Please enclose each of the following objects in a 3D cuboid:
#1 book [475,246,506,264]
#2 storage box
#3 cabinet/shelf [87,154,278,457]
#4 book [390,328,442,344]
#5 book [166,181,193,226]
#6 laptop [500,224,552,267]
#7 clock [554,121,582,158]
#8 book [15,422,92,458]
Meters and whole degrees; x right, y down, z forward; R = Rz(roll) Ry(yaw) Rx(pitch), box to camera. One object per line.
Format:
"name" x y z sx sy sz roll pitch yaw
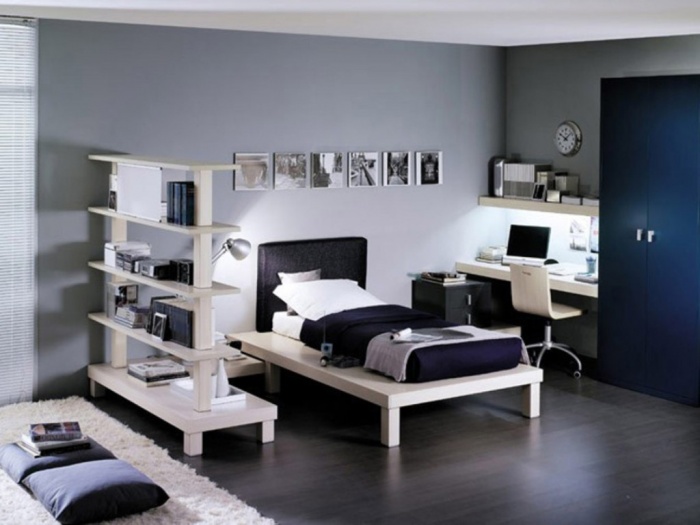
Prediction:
"book" 1.728 -0.109 7.030 0.230 0.098 0.231 -4 8 -37
"storage box" 1.144 0.424 6.486 0.601 0.424 0.604 -4 7 -31
"cabinet/shelf" -1.752 -0.102 4.709 0.736 2.049 2.164 -2 3 -38
"book" 0.559 0.614 4.799 0.202 0.056 0.192 -3 6 -33
"book" -1.170 -0.402 3.958 0.166 0.291 0.311 -2 6 -28
"laptop" 2.097 -0.232 6.897 0.506 0.569 0.633 -4 8 -40
"clock" 2.489 -1.416 6.568 0.073 0.405 0.339 -2 6 -26
"book" -1.875 1.116 3.686 0.252 0.057 0.251 -3 9 -42
